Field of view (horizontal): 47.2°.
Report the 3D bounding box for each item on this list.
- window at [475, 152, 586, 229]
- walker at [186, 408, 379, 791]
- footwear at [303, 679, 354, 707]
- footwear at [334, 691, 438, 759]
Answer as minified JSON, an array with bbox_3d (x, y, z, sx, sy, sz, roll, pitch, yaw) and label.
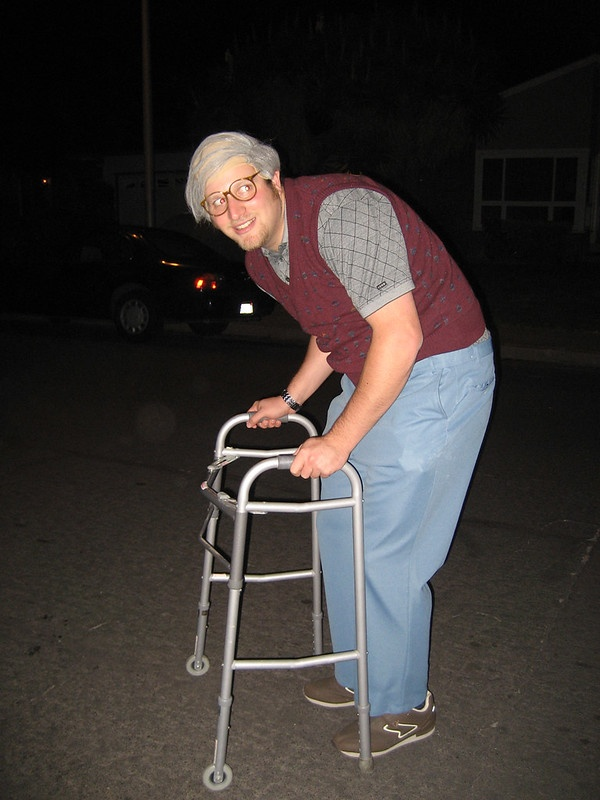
[{"bbox_3d":[7.065,-6.502,21.057,2.850,1.835,0.206,1,1,3],"label":"window"},{"bbox_3d":[-0.063,0.739,2.402,0.790,1.258,0.843,2,14,-10],"label":"walker"},{"bbox_3d":[0.096,1.033,2.431,0.153,0.048,0.082,1,-1,6],"label":"footwear"},{"bbox_3d":[0.289,1.047,2.230,0.365,0.127,0.116,-4,4,-27],"label":"footwear"}]
